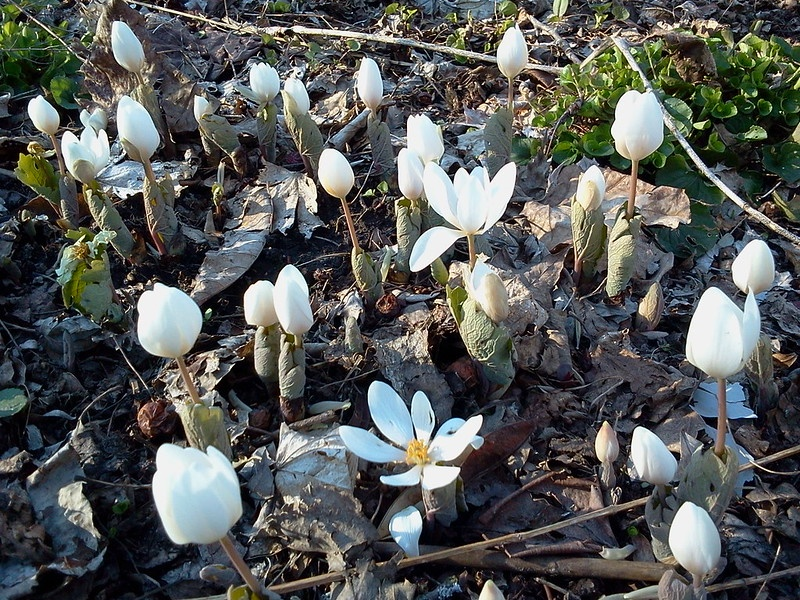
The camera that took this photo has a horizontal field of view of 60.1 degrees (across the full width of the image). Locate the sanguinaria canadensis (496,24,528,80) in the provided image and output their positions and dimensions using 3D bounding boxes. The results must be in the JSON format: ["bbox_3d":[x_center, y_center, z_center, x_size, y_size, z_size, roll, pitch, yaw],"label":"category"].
[{"bbox_3d":[0.558,-1.232,3.422,0.142,0.284,0.263,7,34,8],"label":"sanguinaria canadensis"}]

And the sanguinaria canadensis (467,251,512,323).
[{"bbox_3d":[0.330,-0.048,2.593,0.110,0.114,0.266,-10,39,2],"label":"sanguinaria canadensis"}]

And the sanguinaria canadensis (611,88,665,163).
[{"bbox_3d":[0.972,-0.710,2.825,0.196,0.296,0.148,13,35,17],"label":"sanguinaria canadensis"}]

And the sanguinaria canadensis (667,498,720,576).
[{"bbox_3d":[0.901,0.747,2.116,0.148,0.256,0.073,16,35,21],"label":"sanguinaria canadensis"}]

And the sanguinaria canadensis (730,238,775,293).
[{"bbox_3d":[1.300,-0.125,2.535,0.143,0.230,0.156,7,-9,-2],"label":"sanguinaria canadensis"}]

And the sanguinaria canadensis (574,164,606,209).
[{"bbox_3d":[0.817,-0.492,2.977,0.115,0.205,0.092,16,36,22],"label":"sanguinaria canadensis"}]
